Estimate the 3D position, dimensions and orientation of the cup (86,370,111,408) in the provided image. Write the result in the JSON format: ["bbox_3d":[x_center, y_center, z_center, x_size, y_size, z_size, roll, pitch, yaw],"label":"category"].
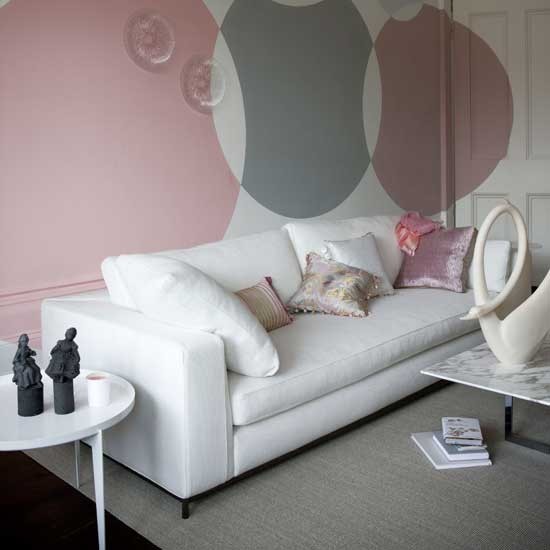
[{"bbox_3d":[-0.536,0.355,1.548,0.066,0.090,0.091,-1,2,5],"label":"cup"}]

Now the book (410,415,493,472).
[{"bbox_3d":[0.697,0.654,1.969,0.176,0.038,0.178,-4,13,-13],"label":"book"}]
